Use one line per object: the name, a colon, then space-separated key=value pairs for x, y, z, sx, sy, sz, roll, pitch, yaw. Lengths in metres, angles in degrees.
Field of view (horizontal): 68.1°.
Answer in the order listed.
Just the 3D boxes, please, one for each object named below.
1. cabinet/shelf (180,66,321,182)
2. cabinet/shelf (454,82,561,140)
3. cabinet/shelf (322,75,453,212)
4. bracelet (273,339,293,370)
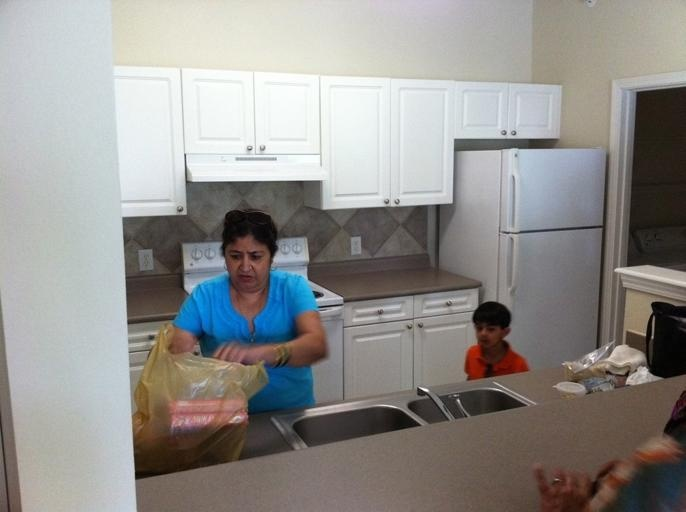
cabinet/shelf: x=-0.512 y=-0.732 z=2.979 sx=0.774 sy=0.614 sz=0.308 roll=-2 pitch=1 yaw=-9
cabinet/shelf: x=1.124 y=-0.974 z=3.575 sx=0.732 sy=0.390 sz=0.238 roll=1 pitch=0 yaw=-1
cabinet/shelf: x=0.269 y=-0.730 z=3.320 sx=0.879 sy=0.815 sz=0.339 roll=-4 pitch=13 yaw=-13
bracelet: x=-0.151 y=0.257 z=1.320 sx=0.051 sy=0.053 sz=0.044 roll=-15 pitch=49 yaw=-8
